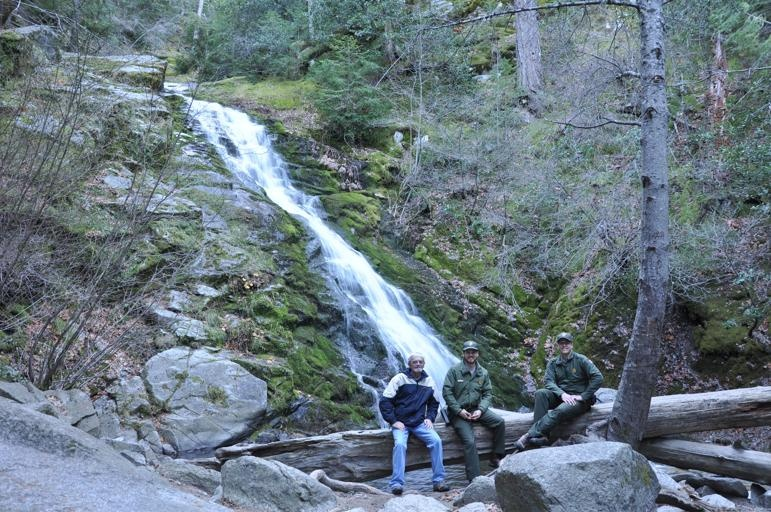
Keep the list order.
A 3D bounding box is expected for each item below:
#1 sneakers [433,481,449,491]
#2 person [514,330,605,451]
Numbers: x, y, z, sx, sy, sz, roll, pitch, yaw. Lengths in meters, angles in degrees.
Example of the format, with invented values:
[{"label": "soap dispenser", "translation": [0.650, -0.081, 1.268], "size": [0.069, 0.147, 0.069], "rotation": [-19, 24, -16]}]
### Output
[{"label": "sneakers", "translation": [1.088, 4.521, 15.278], "size": [0.146, 0.130, 0.288], "rotation": [14, -35, -39]}, {"label": "person", "translation": [3.525, 2.774, 15.740], "size": [1.398, 1.651, 0.690], "rotation": [8, 6, -11]}]
